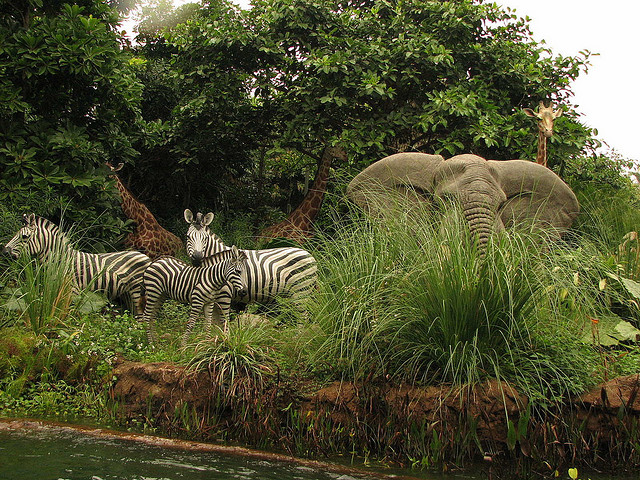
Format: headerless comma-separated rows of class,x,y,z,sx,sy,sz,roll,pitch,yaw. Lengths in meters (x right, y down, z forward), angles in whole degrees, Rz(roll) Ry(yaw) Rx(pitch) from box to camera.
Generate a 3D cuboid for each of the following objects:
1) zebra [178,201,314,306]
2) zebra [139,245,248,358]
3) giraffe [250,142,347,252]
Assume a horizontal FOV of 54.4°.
zebra,-1.540,0.587,7.901,1.444,1.035,0.475,5,5,31
zebra,-1.626,0.592,7.833,1.170,1.425,1.144,0,4,-32
giraffe,-0.352,-0.653,12.471,1.378,2.685,1.299,3,4,34
